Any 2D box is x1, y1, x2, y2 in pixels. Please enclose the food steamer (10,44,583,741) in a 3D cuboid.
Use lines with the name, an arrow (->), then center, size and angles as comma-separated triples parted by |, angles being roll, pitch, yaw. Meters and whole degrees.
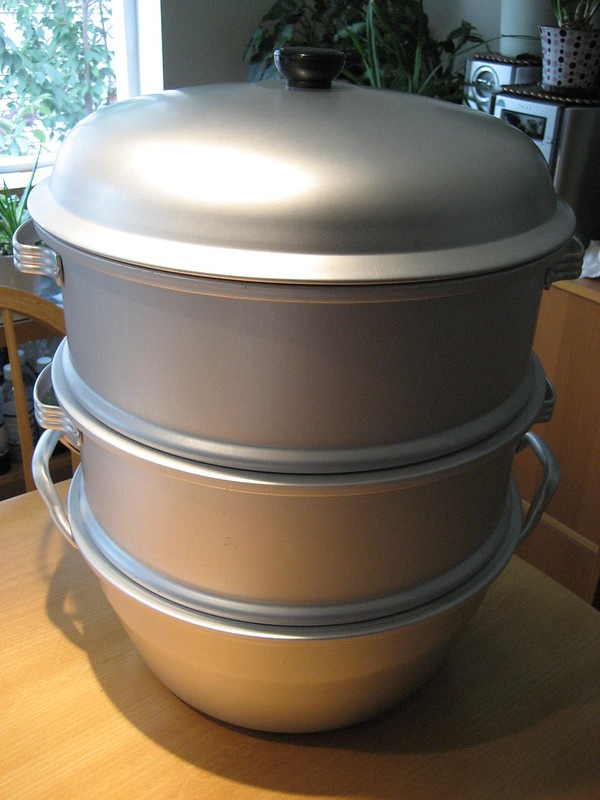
food steamer -> 0.008, 0.017, 0.566 | 0.412, 0.398, 0.358 | 8, 16, 16
